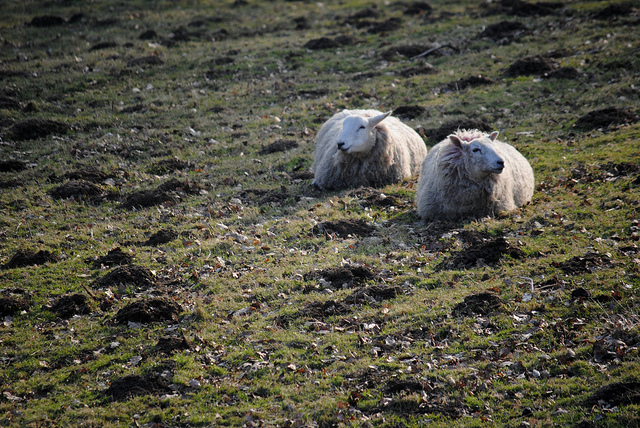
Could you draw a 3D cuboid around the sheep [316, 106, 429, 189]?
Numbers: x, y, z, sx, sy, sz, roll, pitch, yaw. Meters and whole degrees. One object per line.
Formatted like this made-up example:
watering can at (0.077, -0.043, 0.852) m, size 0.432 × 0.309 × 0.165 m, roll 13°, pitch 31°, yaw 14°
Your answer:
sheep at (2.117, -2.610, 44.109) m, size 3.272 × 2.961 × 7.339 m, roll 5°, pitch 1°, yaw -9°
